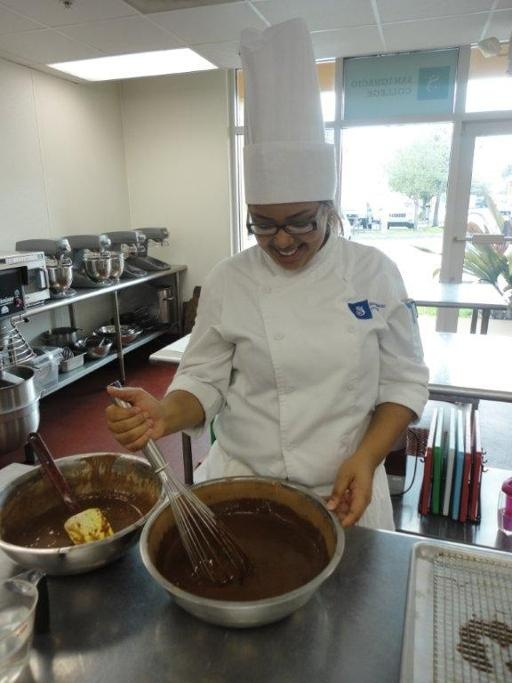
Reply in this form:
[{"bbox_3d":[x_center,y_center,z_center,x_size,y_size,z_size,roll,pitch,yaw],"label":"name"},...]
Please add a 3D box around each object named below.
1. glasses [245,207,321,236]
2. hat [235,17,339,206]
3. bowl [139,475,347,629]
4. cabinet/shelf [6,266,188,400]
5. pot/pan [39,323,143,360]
[{"bbox_3d":[0.050,-0.209,0.881,0.131,0.046,0.077,-2,14,2],"label":"glasses"},{"bbox_3d":[0.057,-0.435,0.952,0.178,0.325,0.181,3,19,20],"label":"hat"},{"bbox_3d":[-0.012,0.274,0.667,0.253,0.092,0.291,1,15,13],"label":"bowl"},{"bbox_3d":[-1.710,0.065,4.663,1.134,0.988,2.940,-17,0,-37],"label":"cabinet/shelf"},{"bbox_3d":[-1.254,-0.009,3.615,0.452,0.114,0.318,5,18,7],"label":"pot/pan"}]
